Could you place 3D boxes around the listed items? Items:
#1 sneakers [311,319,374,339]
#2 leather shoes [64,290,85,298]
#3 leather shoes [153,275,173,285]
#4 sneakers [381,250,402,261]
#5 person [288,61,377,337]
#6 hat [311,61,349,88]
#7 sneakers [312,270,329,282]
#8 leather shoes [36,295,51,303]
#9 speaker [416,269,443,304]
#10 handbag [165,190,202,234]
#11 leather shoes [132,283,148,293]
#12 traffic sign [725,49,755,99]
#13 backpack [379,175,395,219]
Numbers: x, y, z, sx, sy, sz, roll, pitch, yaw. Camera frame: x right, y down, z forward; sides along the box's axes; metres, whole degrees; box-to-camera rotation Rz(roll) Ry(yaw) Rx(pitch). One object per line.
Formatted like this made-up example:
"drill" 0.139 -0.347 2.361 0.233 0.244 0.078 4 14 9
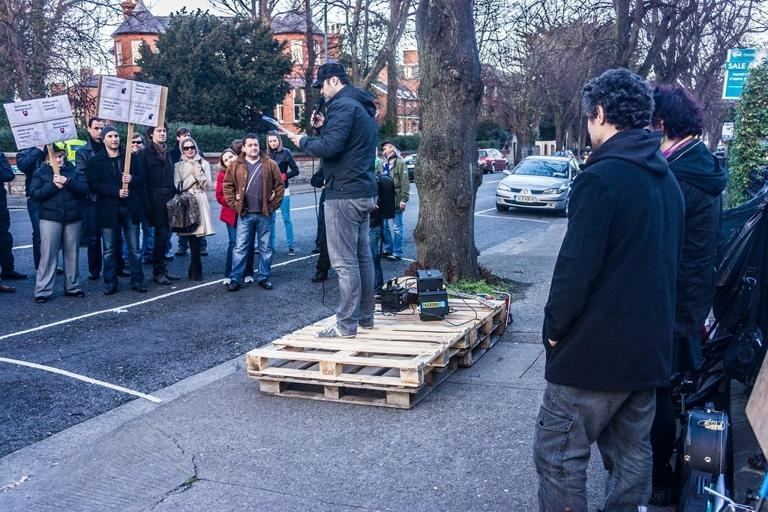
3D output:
"sneakers" -0.452 0.798 7.063 0.619 0.252 0.214 1 1 4
"leather shoes" -4.676 0.572 9.757 0.301 0.080 0.116 3 8 26
"leather shoes" -3.597 0.389 10.464 0.342 0.141 0.121 4 15 25
"sneakers" 0.137 -0.007 12.775 0.357 0.161 0.153 10 4 3
"person" -0.458 -0.586 6.900 0.782 2.886 0.528 -2 9 -6
"hat" -0.592 -1.917 6.870 0.335 0.182 0.235 0 19 13
"sneakers" -1.078 0.351 10.808 0.116 0.140 0.330 0 -7 21
"leather shoes" -4.981 0.623 9.432 0.192 0.090 0.157 -6 10 -33
"speaker" 0.523 0.359 7.595 0.320 0.513 0.328 -1 1 3
"handbag" -3.255 -0.686 10.412 0.604 0.797 0.426 3 -12 -21
"leather shoes" -3.782 0.498 10.045 0.231 0.095 0.115 2 5 42
"traffic sign" 6.474 -3.398 11.924 0.285 0.936 1.034 2 9 20
"backpack" 0.019 -0.832 9.207 0.198 0.578 0.306 -1 9 -2
